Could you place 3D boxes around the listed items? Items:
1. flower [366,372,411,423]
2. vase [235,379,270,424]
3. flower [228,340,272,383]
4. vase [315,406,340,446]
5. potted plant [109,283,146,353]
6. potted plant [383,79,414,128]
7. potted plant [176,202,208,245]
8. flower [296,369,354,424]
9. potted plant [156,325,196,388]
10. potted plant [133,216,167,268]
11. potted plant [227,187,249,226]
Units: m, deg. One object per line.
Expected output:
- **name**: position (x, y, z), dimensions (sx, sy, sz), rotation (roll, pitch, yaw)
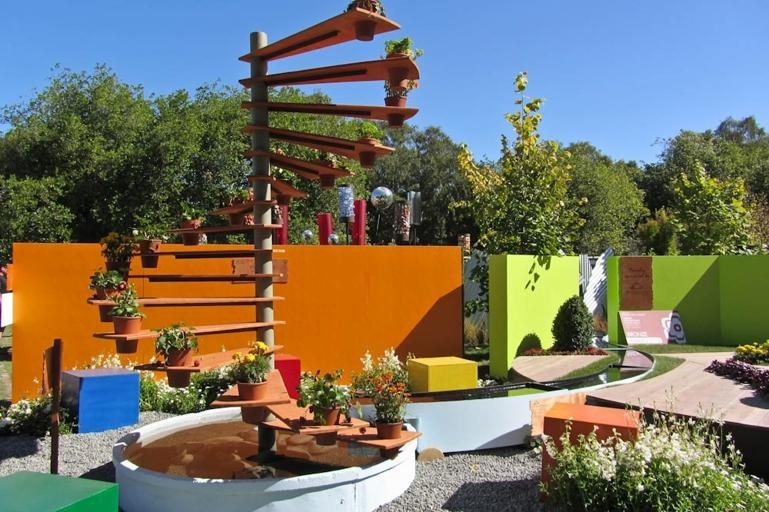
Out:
- **flower**: position (0.170, 2.918, 14.008), dimensions (0.849, 0.991, 0.736), rotation (-5, -5, 5)
- **vase**: position (-2.581, 2.872, 13.345), dimensions (0.723, 0.876, 0.736), rotation (1, -5, 0)
- **flower**: position (-2.668, 2.078, 13.556), dimensions (0.712, 0.858, 0.767), rotation (5, -6, -29)
- **vase**: position (-1.078, 3.370, 13.505), dimensions (0.576, 0.649, 0.610), rotation (0, -3, -5)
- **potted plant**: position (-5.028, 1.219, 13.292), dimensions (0.594, 1.343, 0.510), rotation (-1, -2, -8)
- **potted plant**: position (0.215, -3.010, 13.662), dimensions (0.715, 0.905, 0.754), rotation (1, -7, -1)
- **potted plant**: position (-4.169, -0.678, 14.745), dimensions (0.486, 0.922, 1.565), rotation (-1, -3, -17)
- **flower**: position (-1.290, 2.844, 13.746), dimensions (0.860, 0.769, 1.041), rotation (2, -9, -11)
- **potted plant**: position (-4.026, 1.935, 13.176), dimensions (0.759, 1.235, 0.392), rotation (0, -2, -20)
- **potted plant**: position (-5.095, -0.320, 14.784), dimensions (0.698, 1.181, 1.970), rotation (0, -3, -19)
- **potted plant**: position (-3.020, -1.020, 14.260), dimensions (0.624, 0.763, 0.612), rotation (0, 1, -33)
